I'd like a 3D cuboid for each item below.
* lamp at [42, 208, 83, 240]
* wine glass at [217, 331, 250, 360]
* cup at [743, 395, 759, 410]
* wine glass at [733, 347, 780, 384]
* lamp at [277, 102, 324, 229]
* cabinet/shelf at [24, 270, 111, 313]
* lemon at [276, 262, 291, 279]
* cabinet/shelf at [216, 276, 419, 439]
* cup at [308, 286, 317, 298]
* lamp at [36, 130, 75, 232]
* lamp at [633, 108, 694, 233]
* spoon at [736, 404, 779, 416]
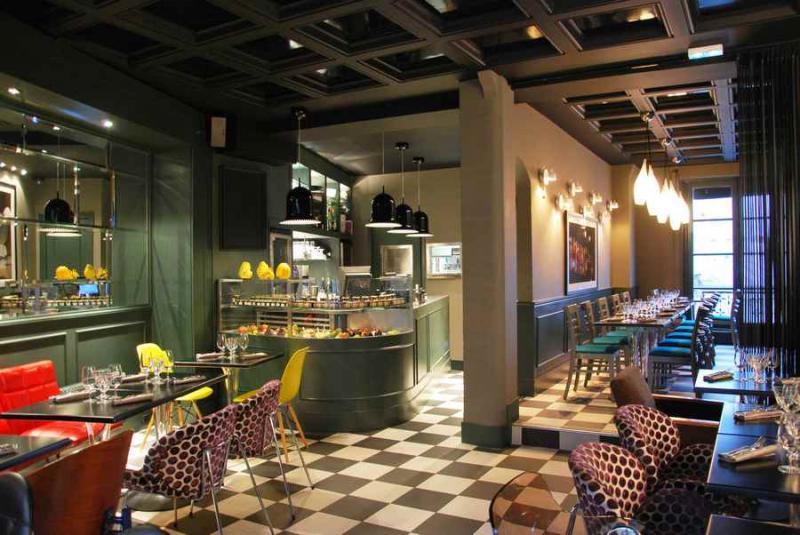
[{"bbox_3d":[-3.706,-0.485,6.308,0.262,0.255,0.266,2,0,-8],"label":"lamp"},{"bbox_3d":[-1.878,0.856,6.451,0.336,0.266,0.324,2,-2,13],"label":"wine glass"},{"bbox_3d":[3.111,1.192,5.089,0.144,0.067,0.185,-6,-24,37],"label":"cup"},{"bbox_3d":[3.379,0.896,5.363,0.327,0.371,0.350,0,-6,1],"label":"wine glass"},{"bbox_3d":[-1.340,-1.267,7.628,0.429,1.593,1.860,-3,10,-9],"label":"lamp"},{"bbox_3d":[-3.694,0.273,6.448,0.808,0.274,0.252,-2,7,-32],"label":"cabinet/shelf"},{"bbox_3d":[-1.573,0.019,7.716,0.221,0.273,0.203,4,6,27],"label":"lemon"},{"bbox_3d":[-0.812,1.088,7.859,2.030,1.736,2.097,-1,-3,13],"label":"cabinet/shelf"},{"bbox_3d":[-1.087,0.291,7.301,0.110,0.130,0.112,-1,-3,0],"label":"cup"},{"bbox_3d":[-3.702,-0.741,6.222,0.086,0.828,0.361,0,10,12],"label":"lamp"},{"bbox_3d":[4.384,-1.689,9.454,0.477,2.051,1.533,-9,-9,32],"label":"lamp"},{"bbox_3d":[2.831,1.122,4.525,0.246,0.029,0.142,-1,-5,-12],"label":"spoon"}]
